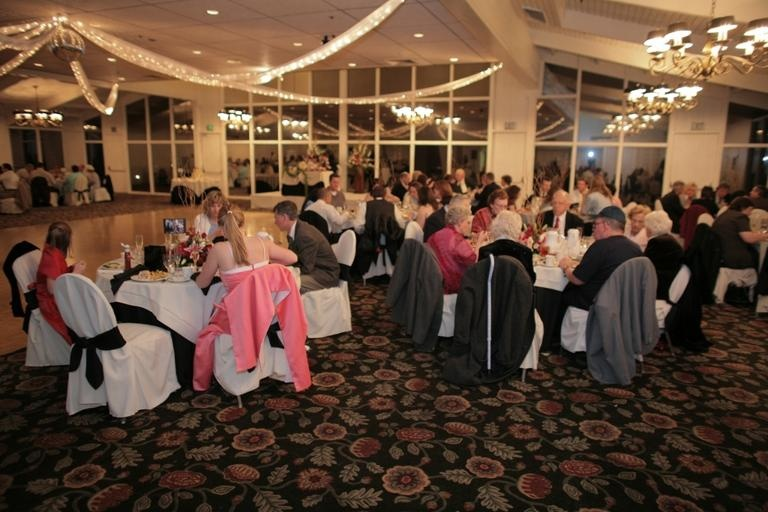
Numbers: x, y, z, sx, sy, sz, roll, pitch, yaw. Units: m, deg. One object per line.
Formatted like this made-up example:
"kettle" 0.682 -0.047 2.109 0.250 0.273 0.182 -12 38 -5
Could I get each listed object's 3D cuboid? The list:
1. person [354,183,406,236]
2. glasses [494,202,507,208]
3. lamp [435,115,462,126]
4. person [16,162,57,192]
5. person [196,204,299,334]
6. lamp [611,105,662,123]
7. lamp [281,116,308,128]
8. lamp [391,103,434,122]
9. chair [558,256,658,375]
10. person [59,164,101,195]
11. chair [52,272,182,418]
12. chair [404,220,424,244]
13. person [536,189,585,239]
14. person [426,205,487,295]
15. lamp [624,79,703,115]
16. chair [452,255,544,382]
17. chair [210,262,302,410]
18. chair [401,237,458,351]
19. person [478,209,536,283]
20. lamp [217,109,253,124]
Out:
"person" -0.114 -0.831 8.865 0.755 0.431 1.041 1 29 0
"glasses" 1.629 -0.702 7.278 0.100 0.072 0.125 -4 9 -4
"lamp" 1.766 -3.787 14.544 0.759 0.248 0.110 8 14 34
"person" -11.141 -2.561 16.730 0.916 0.460 1.076 -5 13 -26
"person" -1.524 -0.119 5.561 1.119 0.822 0.762 -16 24 -26
"lamp" 6.206 -3.392 12.500 0.694 0.174 0.694 3 -4 12
"lamp" -2.953 -4.325 16.897 1.088 0.299 0.205 9 15 37
"lamp" 0.796 -3.966 14.437 1.159 0.565 1.482 0 12 2
"chair" 2.701 0.676 5.877 1.291 1.193 0.749 -17 22 -28
"person" -10.462 -2.618 17.640 0.896 0.972 1.322 1 7 -3
"chair" -2.742 0.833 5.354 1.006 1.388 0.939 5 11 13
"chair" 0.407 -0.341 7.481 0.330 0.382 0.298 6 12 27
"person" 2.578 -0.546 7.605 0.735 0.714 0.389 9 7 38
"person" 0.849 -0.043 6.268 0.633 1.123 0.679 -19 32 -23
"lamp" 5.851 -3.286 10.807 1.632 0.472 1.614 -6 13 -11
"chair" 1.248 0.717 5.696 1.079 1.277 0.784 -4 4 29
"chair" -1.458 0.766 5.680 1.096 1.250 1.082 -3 6 -20
"chair" 0.504 0.405 6.322 0.842 1.415 0.465 0 12 1
"person" 1.441 0.062 6.068 0.683 1.139 0.578 5 38 22
"lamp" -4.974 -4.670 17.361 1.019 0.500 1.055 -3 12 -14
